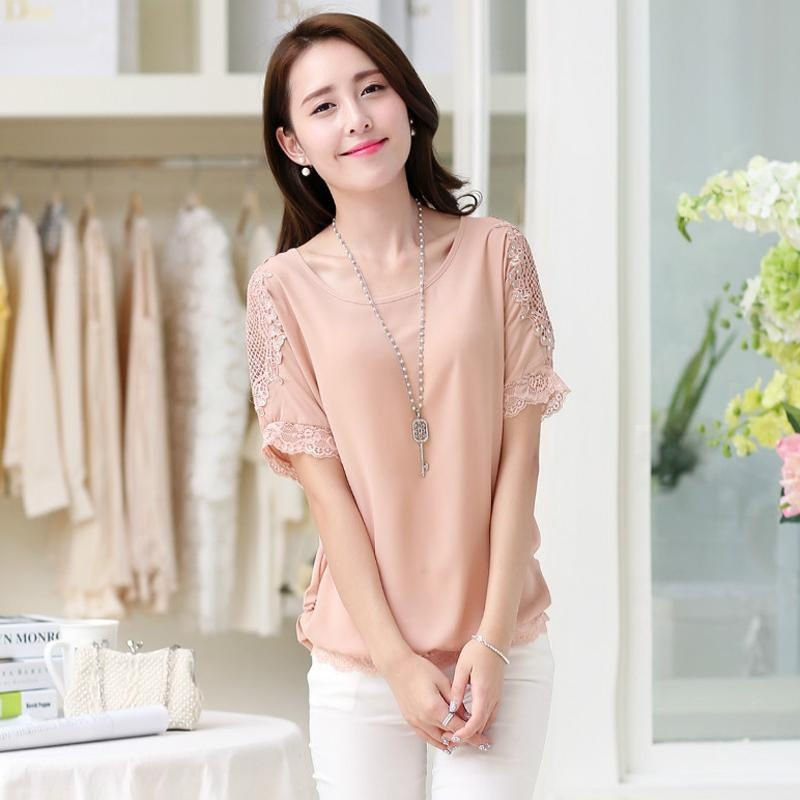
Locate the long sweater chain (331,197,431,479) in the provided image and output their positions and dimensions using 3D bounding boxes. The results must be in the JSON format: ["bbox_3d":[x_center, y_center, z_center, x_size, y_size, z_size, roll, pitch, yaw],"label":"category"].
[{"bbox_3d":[0.007,-0.081,1.380,0.093,0.368,0.014,-9,-12,1],"label":"long sweater chain"}]

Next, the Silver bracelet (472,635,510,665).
[{"bbox_3d":[0.114,0.308,1.263,0.038,0.010,0.034,46,-14,5],"label":"Silver bracelet"}]
